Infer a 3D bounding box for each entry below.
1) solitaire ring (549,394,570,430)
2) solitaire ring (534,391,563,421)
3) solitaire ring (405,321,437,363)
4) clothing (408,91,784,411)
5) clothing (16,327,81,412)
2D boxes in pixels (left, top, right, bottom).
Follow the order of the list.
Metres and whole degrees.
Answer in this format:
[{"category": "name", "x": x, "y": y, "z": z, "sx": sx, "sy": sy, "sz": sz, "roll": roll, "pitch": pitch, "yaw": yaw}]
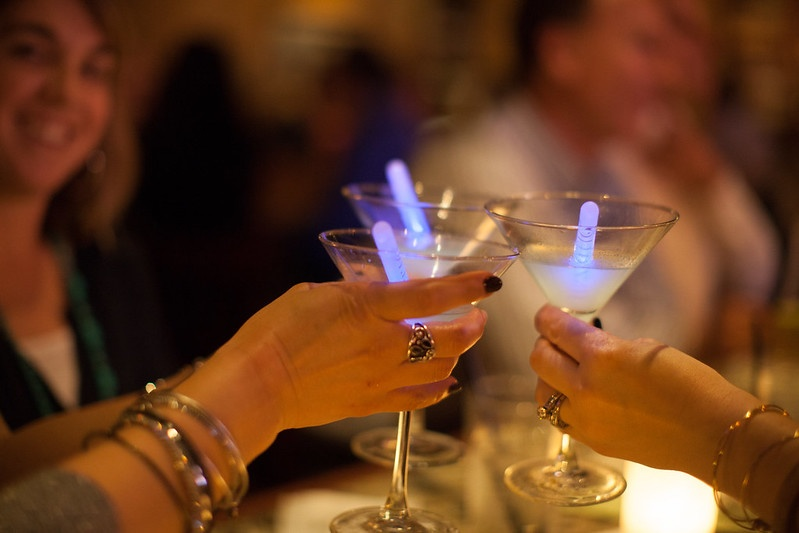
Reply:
[{"category": "solitaire ring", "x": 0.382, "y": 0.353, "z": 1.676, "sx": 0.041, "sy": 0.092, "sz": 0.026, "roll": 2, "pitch": 15, "yaw": 21}, {"category": "solitaire ring", "x": 0.379, "y": 0.340, "z": 1.712, "sx": 0.070, "sy": 0.039, "sz": 0.050, "roll": -46, "pitch": 32, "yaw": -11}, {"category": "solitaire ring", "x": 0.044, "y": 0.176, "z": 1.542, "sx": 0.069, "sy": 0.092, "sz": 0.035, "roll": 16, "pitch": 50, "yaw": 5}, {"category": "clothing", "x": 0.657, "y": -0.016, "z": 2.824, "sx": 1.077, "sy": 1.114, "sz": 1.059, "roll": 5, "pitch": -1, "yaw": -5}, {"category": "clothing", "x": -0.917, "y": 0.285, "z": 1.878, "sx": 0.063, "sy": 0.179, "sz": 0.199, "roll": -7, "pitch": 4, "yaw": 30}]
